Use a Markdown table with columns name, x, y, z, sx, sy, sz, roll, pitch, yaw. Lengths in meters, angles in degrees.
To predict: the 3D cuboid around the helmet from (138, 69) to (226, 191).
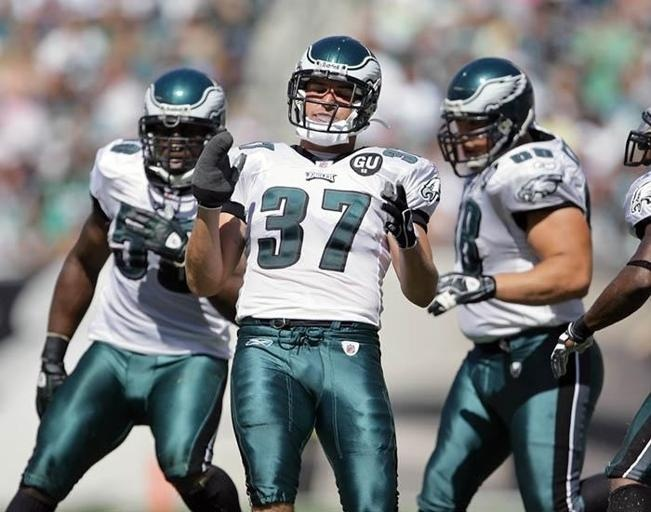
| name | x | y | z | sx | sy | sz | roll | pitch | yaw |
| --- | --- | --- | --- | --- | --- | --- | --- | --- | --- |
| helmet | -0.715 | -0.634 | 5.232 | 0.429 | 0.574 | 0.572 | 2 | 10 | 9 |

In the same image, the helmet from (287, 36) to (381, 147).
| name | x | y | z | sx | sy | sz | roll | pitch | yaw |
| --- | --- | --- | --- | --- | --- | --- | --- | --- | --- |
| helmet | 0.080 | -0.798 | 5.028 | 0.408 | 0.450 | 0.511 | 8 | 19 | 14 |

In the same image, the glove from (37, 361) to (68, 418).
| name | x | y | z | sx | sy | sz | roll | pitch | yaw |
| --- | --- | --- | --- | --- | --- | --- | --- | --- | --- |
| glove | -1.345 | 0.643 | 5.246 | 0.091 | 0.256 | 0.186 | 6 | -6 | -12 |

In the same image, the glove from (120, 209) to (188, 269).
| name | x | y | z | sx | sy | sz | roll | pitch | yaw |
| --- | --- | --- | --- | --- | --- | --- | --- | --- | --- |
| glove | -0.814 | -0.108 | 5.142 | 0.413 | 0.223 | 0.164 | 14 | 9 | 22 |

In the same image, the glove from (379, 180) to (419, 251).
| name | x | y | z | sx | sy | sz | roll | pitch | yaw |
| --- | --- | --- | --- | --- | --- | --- | --- | --- | --- |
| glove | 0.304 | -0.151 | 4.549 | 0.109 | 0.333 | 0.119 | -24 | 1 | -40 |

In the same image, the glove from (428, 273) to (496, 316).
| name | x | y | z | sx | sy | sz | roll | pitch | yaw |
| --- | --- | --- | --- | --- | --- | --- | --- | --- | --- |
| glove | 0.638 | 0.178 | 5.129 | 0.302 | 0.179 | 0.112 | -26 | -34 | 19 |

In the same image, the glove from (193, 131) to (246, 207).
| name | x | y | z | sx | sy | sz | roll | pitch | yaw |
| --- | --- | --- | --- | --- | --- | --- | --- | --- | --- |
| glove | -0.456 | -0.373 | 4.521 | 0.135 | 0.300 | 0.218 | 3 | -23 | 35 |

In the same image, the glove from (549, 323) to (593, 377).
| name | x | y | z | sx | sy | sz | roll | pitch | yaw |
| --- | --- | --- | --- | --- | --- | --- | --- | --- | --- |
| glove | 1.132 | 0.430 | 5.050 | 0.082 | 0.281 | 0.164 | 20 | 9 | 6 |
